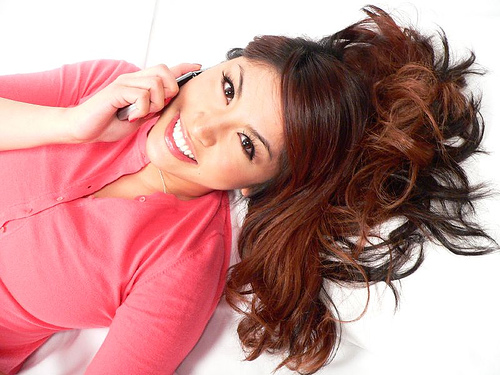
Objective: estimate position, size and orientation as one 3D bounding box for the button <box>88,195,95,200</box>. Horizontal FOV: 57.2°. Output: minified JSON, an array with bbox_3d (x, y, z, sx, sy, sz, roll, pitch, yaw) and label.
[{"bbox_3d":[-0.560,0.034,1.624,0.021,0.011,0.028,-9,17,-16],"label":"button"}]

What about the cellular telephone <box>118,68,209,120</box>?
[{"bbox_3d":[-0.297,-0.313,1.566,0.318,0.031,0.034,-34,20,-11],"label":"cellular telephone"}]

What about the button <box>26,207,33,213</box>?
[{"bbox_3d":[-0.742,0.076,1.548,0.021,0.018,0.010,-5,17,-1],"label":"button"}]

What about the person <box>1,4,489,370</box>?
[{"bbox_3d":[-0.062,0.045,1.696,1.797,1.294,0.555,-6,17,-4],"label":"person"}]

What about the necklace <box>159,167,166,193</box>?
[{"bbox_3d":[-0.332,-0.030,1.722,0.010,0.090,0.007,-6,1,24],"label":"necklace"}]

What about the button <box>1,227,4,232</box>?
[{"bbox_3d":[-0.833,0.142,1.550,0.009,0.016,0.006,-4,18,4],"label":"button"}]
